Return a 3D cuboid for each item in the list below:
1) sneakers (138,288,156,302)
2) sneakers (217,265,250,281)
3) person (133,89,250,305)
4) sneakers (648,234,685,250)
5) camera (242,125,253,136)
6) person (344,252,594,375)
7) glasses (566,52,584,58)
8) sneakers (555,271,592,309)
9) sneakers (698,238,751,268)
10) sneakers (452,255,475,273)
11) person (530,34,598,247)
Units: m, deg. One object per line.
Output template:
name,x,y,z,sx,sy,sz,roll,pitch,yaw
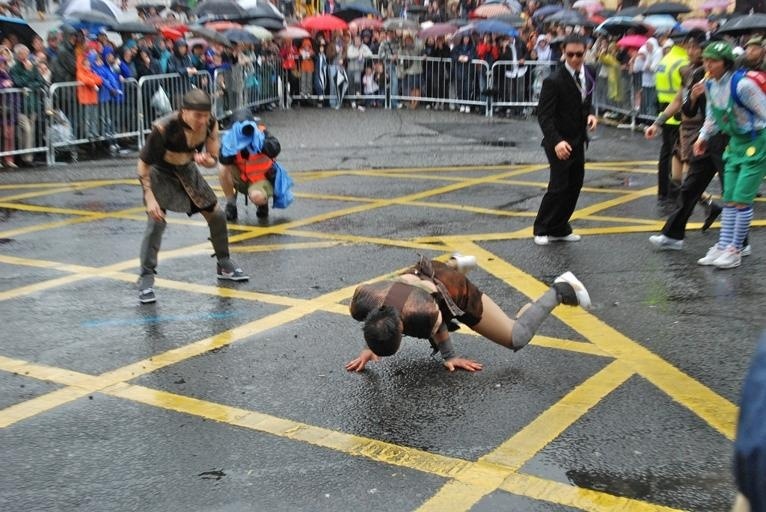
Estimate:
sneakers,-2.285,0.377,5.773,0.162,0.136,0.179,-8,14,-19
sneakers,-1.591,0.185,6.278,0.360,0.103,0.149,3,6,4
person,-1.937,-0.582,5.769,1.081,1.992,0.738,-14,18,-33
sneakers,3.481,-0.165,7.186,0.469,0.161,0.162,11,19,17
camera,-1.869,-1.755,8.252,0.167,0.119,0.145,-8,12,1
person,0.590,0.417,4.345,1.517,0.547,0.984,-29,24,-36
glasses,2.264,-2.372,6.977,0.199,0.060,0.146,-2,12,2
sneakers,1.483,0.262,4.731,0.195,0.356,0.203,-35,-26,-8
sneakers,3.876,-0.016,6.638,0.708,0.209,0.271,-5,2,-27
sneakers,0.625,0.059,4.586,0.170,0.084,0.131,-2,12,-18
person,2.250,-1.416,7.398,0.739,2.476,0.844,1,16,16
